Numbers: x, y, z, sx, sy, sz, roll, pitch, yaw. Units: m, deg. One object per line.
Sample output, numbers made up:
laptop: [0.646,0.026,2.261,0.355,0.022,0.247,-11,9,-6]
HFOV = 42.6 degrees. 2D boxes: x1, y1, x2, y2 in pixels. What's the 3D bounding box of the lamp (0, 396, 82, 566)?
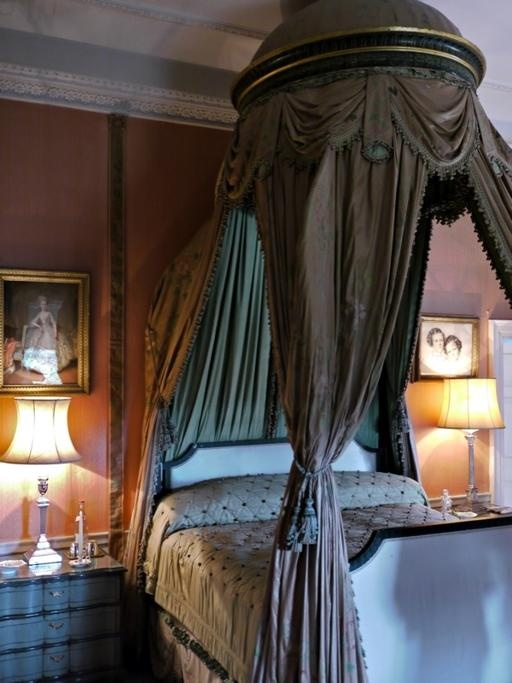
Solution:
lamp: [-1.123,0.712,3.419,0.393,0.838,0.368,2,-5,-20]
